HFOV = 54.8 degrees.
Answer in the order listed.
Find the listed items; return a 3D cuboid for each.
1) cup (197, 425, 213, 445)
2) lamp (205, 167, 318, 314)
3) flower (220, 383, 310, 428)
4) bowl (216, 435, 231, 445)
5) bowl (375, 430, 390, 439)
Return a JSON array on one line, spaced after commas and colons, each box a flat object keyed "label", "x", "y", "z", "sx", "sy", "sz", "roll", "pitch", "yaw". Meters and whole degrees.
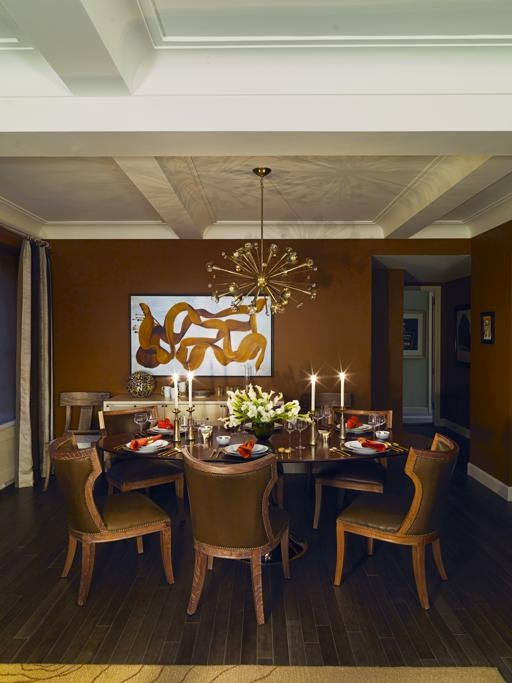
[{"label": "cup", "x": -0.380, "y": 0.694, "z": 3.680, "sx": 0.100, "sy": 0.114, "sz": 0.105, "roll": 0, "pitch": -5, "yaw": 0}, {"label": "lamp", "x": 0.088, "y": -0.853, "z": 5.170, "sx": 1.111, "sy": 1.330, "sz": 1.186, "roll": 0, "pitch": -3, "yaw": -6}, {"label": "flower", "x": -0.015, "y": 0.482, "z": 3.679, "sx": 0.518, "sy": 0.261, "sz": 0.512, "roll": 0, "pitch": -2, "yaw": -21}, {"label": "bowl", "x": -0.223, "y": 0.694, "z": 3.476, "sx": 0.075, "sy": 0.033, "sz": 0.074, "roll": -1, "pitch": 0, "yaw": 0}, {"label": "bowl", "x": 0.959, "y": 0.702, "z": 3.713, "sx": 0.072, "sy": 0.032, "sz": 0.069, "roll": -1, "pitch": 3, "yaw": 0}]
